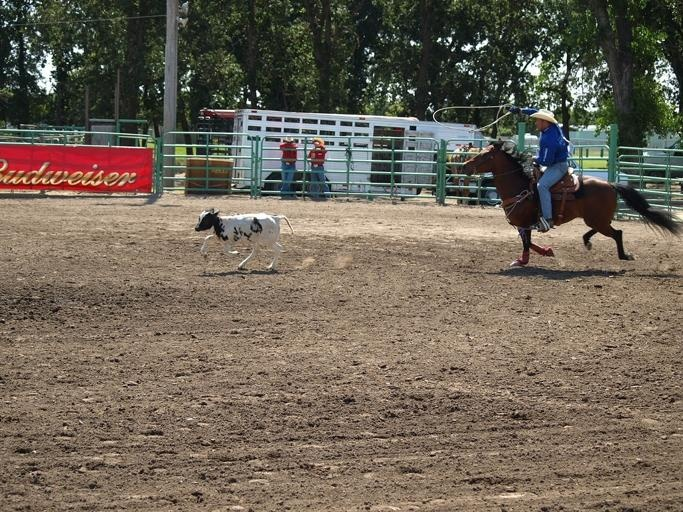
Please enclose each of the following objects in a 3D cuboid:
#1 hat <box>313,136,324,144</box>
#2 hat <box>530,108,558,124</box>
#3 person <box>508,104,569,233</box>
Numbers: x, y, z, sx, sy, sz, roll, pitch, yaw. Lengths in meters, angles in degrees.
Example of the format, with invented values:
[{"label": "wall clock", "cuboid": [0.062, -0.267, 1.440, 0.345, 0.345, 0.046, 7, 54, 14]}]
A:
[{"label": "hat", "cuboid": [-0.678, -3.393, 36.500, 0.297, 0.115, 0.206, 16, 5, 12]}, {"label": "hat", "cuboid": [4.226, -2.917, 25.561, 0.468, 0.159, 0.436, 20, 1, -29]}, {"label": "person", "cuboid": [4.268, -1.780, 25.738, 1.147, 2.558, 0.658, -1, 3, -33]}]
